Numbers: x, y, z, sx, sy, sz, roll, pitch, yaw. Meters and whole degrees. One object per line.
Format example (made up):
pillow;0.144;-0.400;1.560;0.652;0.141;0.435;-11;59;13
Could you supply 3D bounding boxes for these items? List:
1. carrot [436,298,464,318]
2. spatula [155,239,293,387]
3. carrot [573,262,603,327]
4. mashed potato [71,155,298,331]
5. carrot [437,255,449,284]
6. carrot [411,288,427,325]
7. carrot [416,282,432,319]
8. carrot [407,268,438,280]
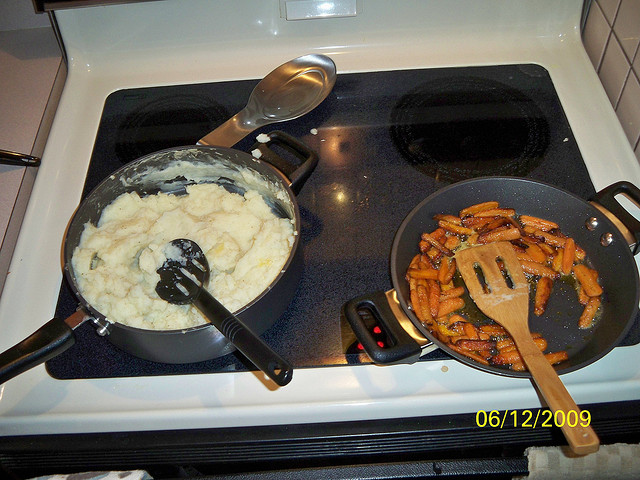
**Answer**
carrot;0.225;0.116;0.893;0.060;0.018;0.021;-19;36;-16
spatula;-0.176;0.118;0.824;0.101;0.122;0.338;-38;72;-11
carrot;0.492;0.080;0.921;0.028;0.114;0.044;-41;35;-18
mashed potato;-0.261;-0.001;0.957;0.342;0.071;0.353;-11;52;-1
carrot;0.223;0.054;0.922;0.021;0.011;0.041;-4;54;29
carrot;0.166;0.113;0.885;0.014;0.016;0.065;-3;62;-22
carrot;0.177;0.107;0.893;0.015;0.014;0.056;-3;55;-15
carrot;0.185;0.061;0.913;0.067;0.018;0.020;1;19;4
